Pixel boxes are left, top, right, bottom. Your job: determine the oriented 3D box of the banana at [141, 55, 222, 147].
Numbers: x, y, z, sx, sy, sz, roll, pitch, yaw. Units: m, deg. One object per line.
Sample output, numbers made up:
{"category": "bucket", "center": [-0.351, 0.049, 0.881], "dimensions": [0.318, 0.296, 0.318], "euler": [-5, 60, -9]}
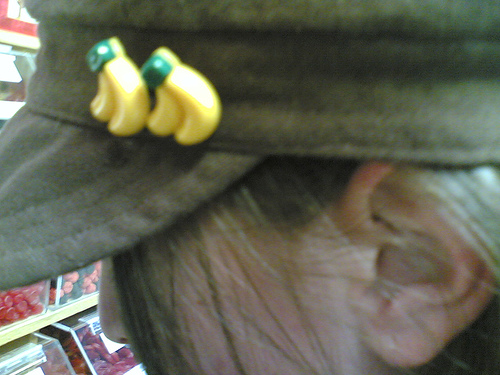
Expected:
{"category": "banana", "center": [-0.126, -0.178, 0.983], "dimensions": [0.118, 0.059, 0.189], "euler": [-22, 77, 8]}
